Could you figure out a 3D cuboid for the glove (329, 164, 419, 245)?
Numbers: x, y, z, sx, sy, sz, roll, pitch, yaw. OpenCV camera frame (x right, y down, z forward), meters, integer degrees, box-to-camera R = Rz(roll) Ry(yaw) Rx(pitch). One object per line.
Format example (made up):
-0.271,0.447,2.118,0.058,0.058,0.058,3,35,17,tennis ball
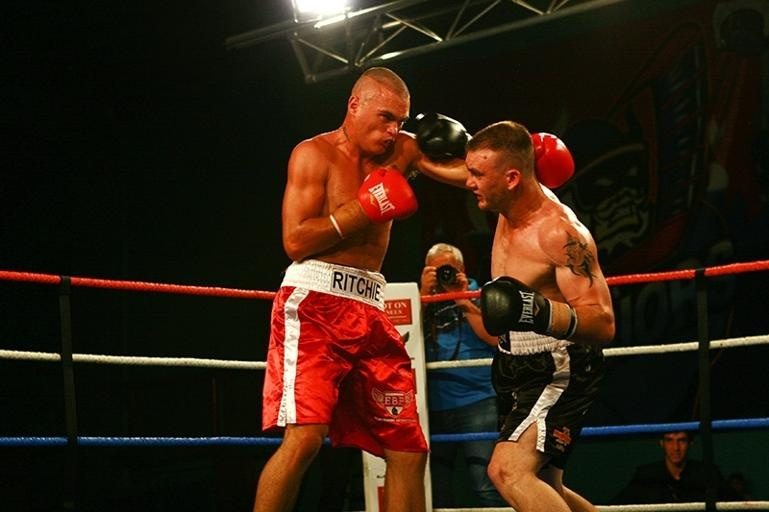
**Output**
-0.053,-0.287,4.242,0.414,0.325,0.161,-22,-12,3,glove

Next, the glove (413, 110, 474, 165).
0.329,-0.661,4.552,0.308,0.238,0.142,24,-11,4,glove

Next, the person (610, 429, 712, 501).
1.930,1.441,5.516,0.722,0.411,0.224,-3,-13,12,person

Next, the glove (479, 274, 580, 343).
0.740,0.264,4.057,0.393,0.309,0.203,13,-39,-8,glove

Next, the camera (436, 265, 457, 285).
0.394,0.128,5.286,0.177,0.182,0.101,0,-6,1,camera
